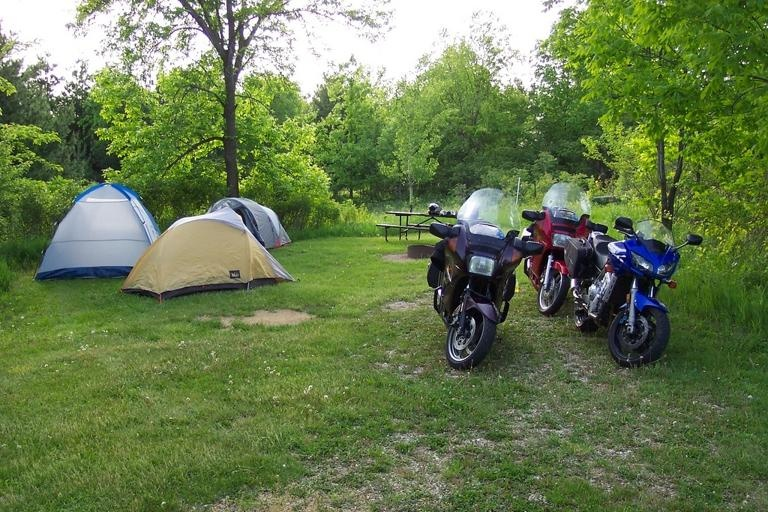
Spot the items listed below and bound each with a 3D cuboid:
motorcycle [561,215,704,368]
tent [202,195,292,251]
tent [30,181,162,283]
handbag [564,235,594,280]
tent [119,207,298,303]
[{"bbox_3d":[4.113,0.522,11.314,1.013,2.364,1.952,-5,12,-19],"label":"motorcycle"},{"bbox_3d":[-3.773,-1.060,20.426,1.491,0.884,2.216,4,-1,25],"label":"tent"},{"bbox_3d":[-7.179,-0.712,16.784,2.527,1.684,2.375,-4,14,-20],"label":"tent"},{"bbox_3d":[3.566,-0.043,12.158,0.339,0.629,0.616,-3,28,-6],"label":"handbag"},{"bbox_3d":[-4.189,-0.178,15.279,2.532,1.322,2.038,-3,8,-23],"label":"tent"}]
